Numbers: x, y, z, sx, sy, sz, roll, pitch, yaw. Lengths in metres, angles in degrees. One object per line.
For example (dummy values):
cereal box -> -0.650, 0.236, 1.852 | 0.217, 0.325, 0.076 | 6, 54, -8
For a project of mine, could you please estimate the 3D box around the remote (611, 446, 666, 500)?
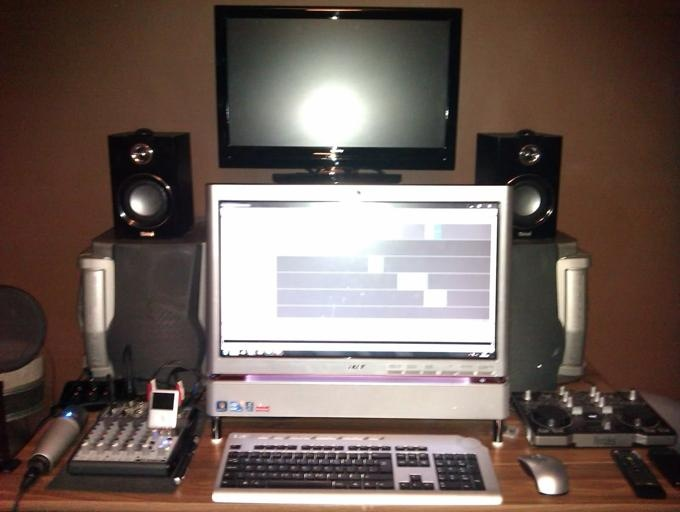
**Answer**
remote -> 0.737, 0.519, 1.612 | 0.073, 0.022, 0.192 | -13, -58, 48

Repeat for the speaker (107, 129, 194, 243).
speaker -> -0.577, -0.251, 2.030 | 0.207, 0.392, 0.317 | 1, -47, 1

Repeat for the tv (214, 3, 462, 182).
tv -> -0.011, -0.554, 2.138 | 0.634, 0.161, 0.422 | 1, -83, -1

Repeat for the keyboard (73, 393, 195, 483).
keyboard -> -0.528, 0.464, 1.651 | 0.220, 0.225, 0.057 | 1, -71, 1

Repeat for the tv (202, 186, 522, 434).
tv -> 0.046, 0.124, 1.700 | 0.690, 0.541, 0.216 | 0, -6, 0
